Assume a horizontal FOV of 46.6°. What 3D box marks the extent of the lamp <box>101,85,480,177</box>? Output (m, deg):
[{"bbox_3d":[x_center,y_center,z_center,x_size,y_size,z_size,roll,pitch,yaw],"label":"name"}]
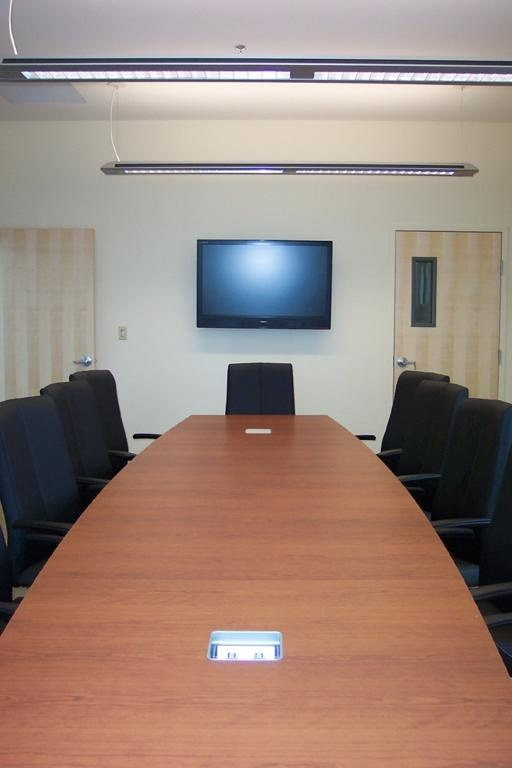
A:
[{"bbox_3d":[0.126,-1.802,4.451,2.657,0.677,1.199,0,5,-2],"label":"lamp"}]
